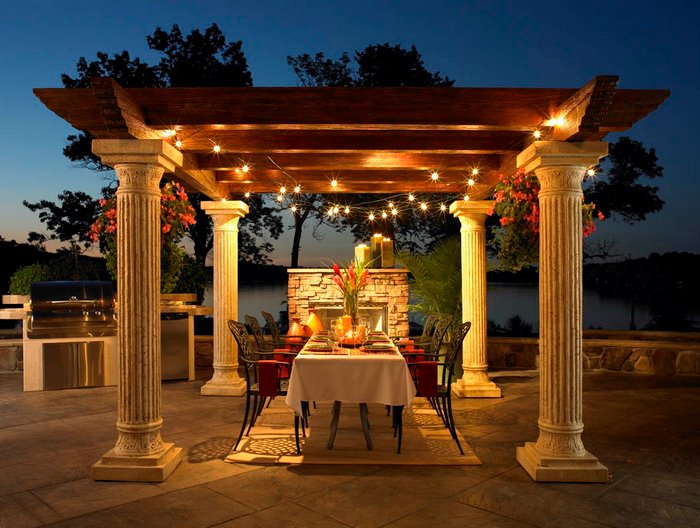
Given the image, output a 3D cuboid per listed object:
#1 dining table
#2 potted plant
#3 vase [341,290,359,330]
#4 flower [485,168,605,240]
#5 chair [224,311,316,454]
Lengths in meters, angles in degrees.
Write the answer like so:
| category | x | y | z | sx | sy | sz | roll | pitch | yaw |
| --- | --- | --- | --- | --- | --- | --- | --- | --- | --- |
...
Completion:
| category | x | y | z | sx | sy | sz | roll | pitch | yaw |
| --- | --- | --- | --- | --- | --- | --- | --- | --- | --- |
| dining table | 0.019 | 1.479 | 7.110 | 1.559 | 0.978 | 1.813 | 2 | -1 | 0 |
| potted plant | 1.543 | 0.657 | 10.154 | 1.437 | 2.515 | 1.179 | 1 | 2 | 2 |
| vase | 0.015 | 0.598 | 7.857 | 0.175 | 0.478 | 0.267 | 0 | 4 | -3 |
| flower | 2.144 | -0.727 | 7.247 | 1.063 | 0.859 | 0.503 | 2 | -8 | 0 |
| chair | -0.959 | 1.471 | 7.741 | 1.547 | 1.914 | 1.258 | 0 | -4 | 3 |
